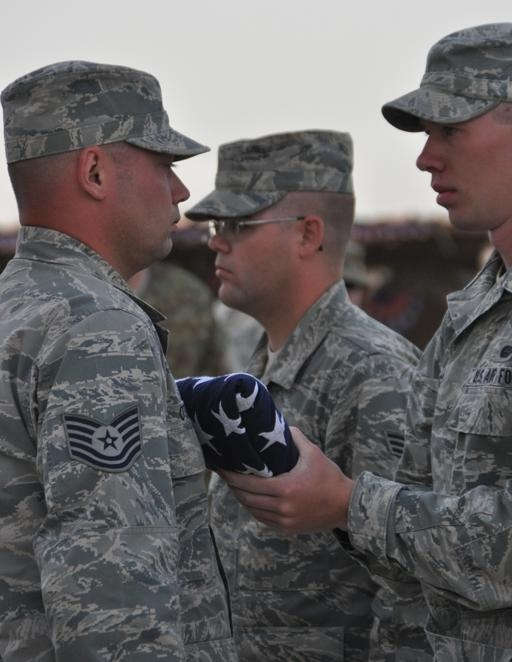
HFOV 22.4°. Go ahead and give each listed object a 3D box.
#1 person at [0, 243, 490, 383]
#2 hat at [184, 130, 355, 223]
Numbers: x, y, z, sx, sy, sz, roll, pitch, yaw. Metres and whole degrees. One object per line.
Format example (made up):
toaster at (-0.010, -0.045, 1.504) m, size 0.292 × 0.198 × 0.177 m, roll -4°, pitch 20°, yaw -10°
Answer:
person at (-0.037, -0.092, 5.313) m, size 1.547 × 0.298 × 1.243 m, roll 0°, pitch -3°, yaw 7°
hat at (0.094, -0.562, 4.657) m, size 0.666 × 0.268 × 0.438 m, roll -5°, pitch 5°, yaw -13°
